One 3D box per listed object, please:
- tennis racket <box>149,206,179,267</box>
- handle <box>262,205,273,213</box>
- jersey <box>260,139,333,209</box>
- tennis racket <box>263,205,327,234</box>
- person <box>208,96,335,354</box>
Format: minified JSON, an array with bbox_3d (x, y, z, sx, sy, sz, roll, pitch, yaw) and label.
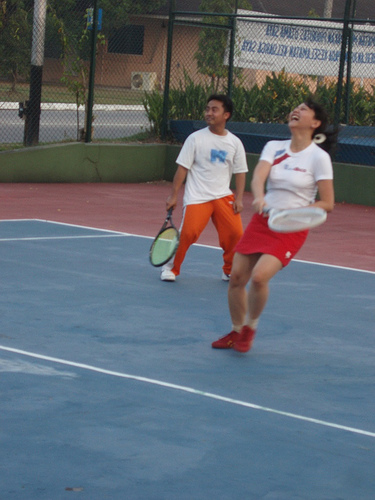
[{"bbox_3d":[-0.235,-0.050,6.430,0.119,0.483,0.460,5,6,-32],"label":"tennis racket"},{"bbox_3d":[0.514,-0.266,3.885,0.048,0.038,0.068,7,8,9],"label":"handle"},{"bbox_3d":[0.739,-0.512,4.086,0.548,0.469,0.284,19,37,30],"label":"jersey"},{"bbox_3d":[0.688,-0.196,3.879,0.397,0.194,0.175,6,5,-10],"label":"tennis racket"},{"bbox_3d":[0.637,-0.154,4.148,0.621,1.819,0.703,7,6,-14],"label":"person"}]
